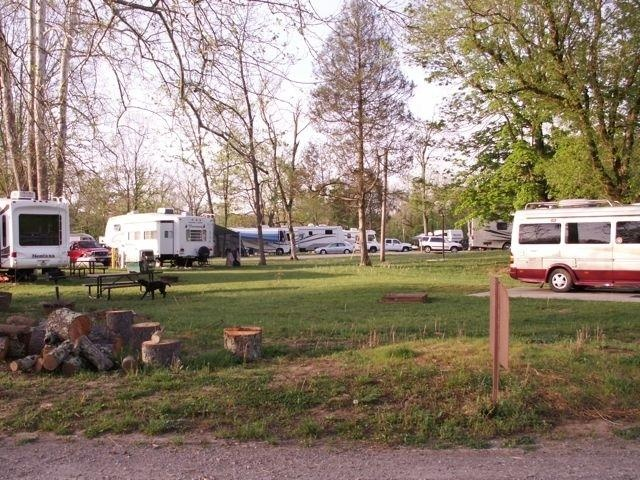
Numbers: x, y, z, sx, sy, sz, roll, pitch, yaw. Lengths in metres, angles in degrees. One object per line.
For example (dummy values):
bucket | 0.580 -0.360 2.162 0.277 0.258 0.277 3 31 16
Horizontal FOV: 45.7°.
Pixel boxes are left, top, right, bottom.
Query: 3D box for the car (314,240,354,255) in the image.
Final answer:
car | 1.391 0.579 62.973 2.698 0.940 1.264 1 -1 -11

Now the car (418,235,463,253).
car | 10.511 0.787 64.189 3.138 1.365 1.963 -1 2 8

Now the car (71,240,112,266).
car | -12.780 0.780 41.942 1.180 1.136 2.585 1 -4 -39

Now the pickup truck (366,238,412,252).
pickup truck | 6.343 0.808 68.265 3.873 1.377 1.533 -1 1 -6
